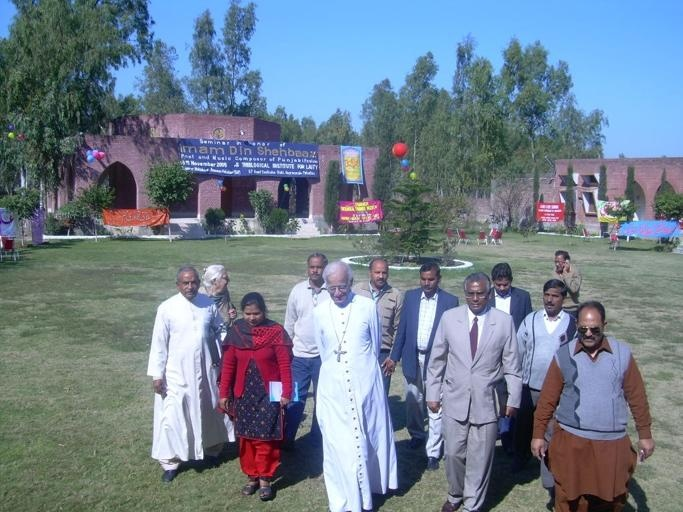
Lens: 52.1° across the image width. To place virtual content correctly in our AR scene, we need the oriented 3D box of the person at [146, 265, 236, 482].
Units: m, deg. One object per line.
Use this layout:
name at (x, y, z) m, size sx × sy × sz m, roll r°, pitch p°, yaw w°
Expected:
person at (-1.820, 1.463, 8.656) m, size 1.000 × 2.644 × 0.893 m, roll -5°, pitch 16°, yaw -23°

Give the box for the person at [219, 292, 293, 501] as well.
person at (-1.034, 1.619, 8.265) m, size 0.867 × 2.328 × 0.660 m, roll 2°, pitch 11°, yaw 9°

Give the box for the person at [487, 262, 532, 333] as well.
person at (2.450, 0.606, 10.135) m, size 0.608 × 1.462 × 0.382 m, roll -4°, pitch 4°, yaw 8°

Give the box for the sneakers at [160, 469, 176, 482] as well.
sneakers at (-2.103, 2.645, 8.477) m, size 0.181 × 0.099 × 0.175 m, roll -2°, pitch 12°, yaw -14°

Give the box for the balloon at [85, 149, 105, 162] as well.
balloon at (-11.696, -4.745, 33.096) m, size 0.813 × 0.404 × 0.918 m, roll -2°, pitch -37°, yaw -11°

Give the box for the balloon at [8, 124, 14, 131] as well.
balloon at (-14.590, -5.685, 30.818) m, size 0.257 × 0.337 × 0.205 m, roll 2°, pitch -41°, yaw 14°

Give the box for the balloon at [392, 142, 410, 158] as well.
balloon at (2.062, -3.670, 24.463) m, size 0.408 × 0.472 × 0.849 m, roll 0°, pitch 12°, yaw -2°

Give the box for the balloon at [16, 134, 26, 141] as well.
balloon at (-14.364, -5.281, 31.185) m, size 0.289 × 0.337 × 0.213 m, roll 2°, pitch 40°, yaw 7°
